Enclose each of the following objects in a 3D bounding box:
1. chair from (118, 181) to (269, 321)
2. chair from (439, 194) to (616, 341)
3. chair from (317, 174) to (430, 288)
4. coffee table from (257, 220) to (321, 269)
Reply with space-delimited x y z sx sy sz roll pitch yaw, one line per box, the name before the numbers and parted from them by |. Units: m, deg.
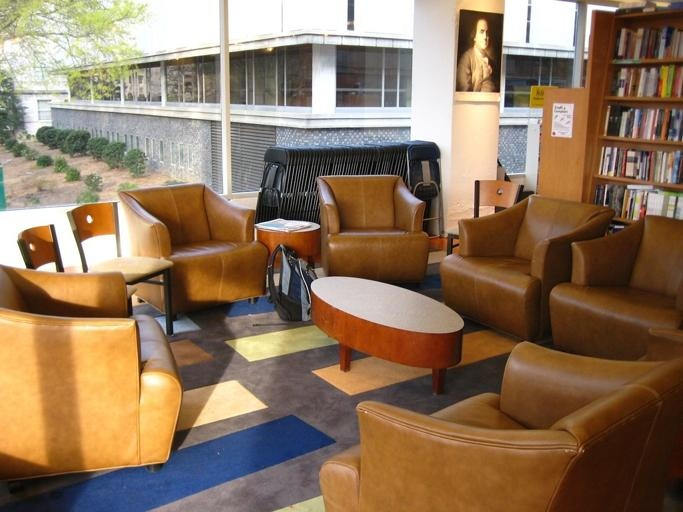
chair | -1.313 -0.047 4.917 1.279 1.304 1.181 -8 13 -43
chair | 1.371 0.084 4.557 1.258 1.338 1.307 -6 12 -29
chair | 0.322 -0.256 5.453 1.141 1.196 1.106 -1 8 -13
coffee table | -0.491 -0.177 5.049 0.472 0.477 0.465 7 13 22
